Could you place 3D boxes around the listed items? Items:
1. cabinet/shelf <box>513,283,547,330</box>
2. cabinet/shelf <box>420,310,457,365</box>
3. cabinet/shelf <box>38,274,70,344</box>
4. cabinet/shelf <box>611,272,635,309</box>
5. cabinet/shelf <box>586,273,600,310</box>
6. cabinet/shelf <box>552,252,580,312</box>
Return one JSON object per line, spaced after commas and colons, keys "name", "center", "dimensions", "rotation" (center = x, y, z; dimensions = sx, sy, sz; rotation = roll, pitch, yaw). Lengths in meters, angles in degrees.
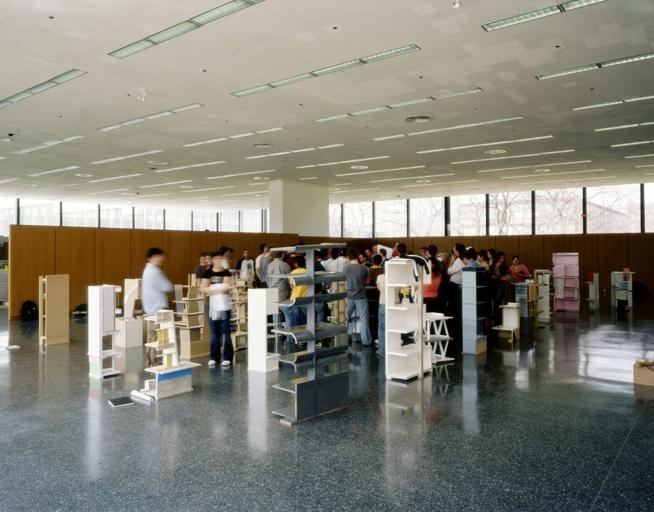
{"name": "cabinet/shelf", "center": [4.816, 1.183, 11.634], "dimensions": [0.592, 1.123, 1.373], "rotation": [-1, -1, 29]}
{"name": "cabinet/shelf", "center": [1.902, 1.434, 8.836], "dimensions": [0.618, 0.505, 0.605], "rotation": [-22, 18, -29]}
{"name": "cabinet/shelf", "center": [-5.613, 1.107, 10.191], "dimensions": [0.568, 1.411, 0.689], "rotation": [-3, 0, -29]}
{"name": "cabinet/shelf", "center": [9.360, 1.106, 15.892], "dimensions": [0.641, 1.037, 0.578], "rotation": [2, -6, 3]}
{"name": "cabinet/shelf", "center": [8.493, 1.098, 15.786], "dimensions": [0.329, 1.223, 2.027], "rotation": [-3, -1, 28]}
{"name": "cabinet/shelf", "center": [7.201, 0.787, 14.944], "dimensions": [0.694, 1.860, 0.714], "rotation": [-3, 0, 22]}
